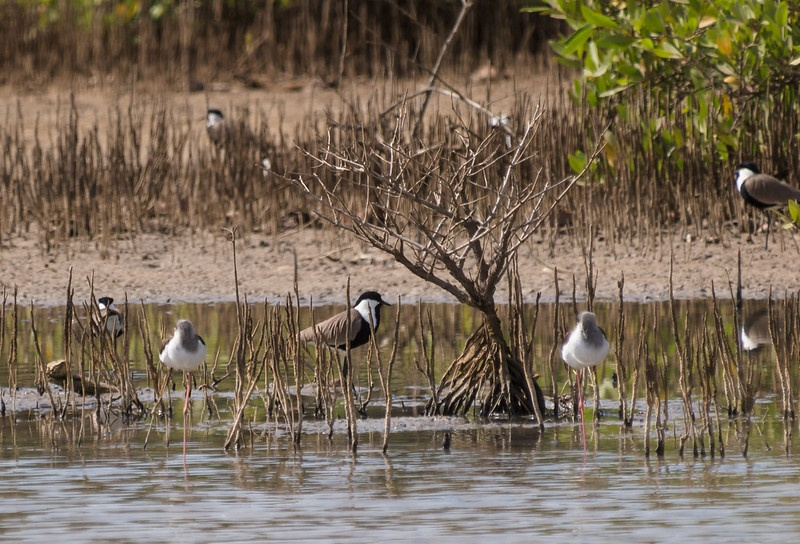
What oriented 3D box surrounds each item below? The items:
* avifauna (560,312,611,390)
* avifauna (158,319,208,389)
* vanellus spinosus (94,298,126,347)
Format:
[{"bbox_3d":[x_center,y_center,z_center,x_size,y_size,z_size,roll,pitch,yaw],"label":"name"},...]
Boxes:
[{"bbox_3d":[1.863,0.749,14.986,0.305,0.734,0.488,0,19,3],"label":"avifauna"},{"bbox_3d":[-2.157,0.792,15.010,0.371,0.631,0.516,-1,-3,-40],"label":"avifauna"},{"bbox_3d":[-3.395,0.600,17.517,0.288,0.653,0.590,-9,28,-21],"label":"vanellus spinosus"}]
